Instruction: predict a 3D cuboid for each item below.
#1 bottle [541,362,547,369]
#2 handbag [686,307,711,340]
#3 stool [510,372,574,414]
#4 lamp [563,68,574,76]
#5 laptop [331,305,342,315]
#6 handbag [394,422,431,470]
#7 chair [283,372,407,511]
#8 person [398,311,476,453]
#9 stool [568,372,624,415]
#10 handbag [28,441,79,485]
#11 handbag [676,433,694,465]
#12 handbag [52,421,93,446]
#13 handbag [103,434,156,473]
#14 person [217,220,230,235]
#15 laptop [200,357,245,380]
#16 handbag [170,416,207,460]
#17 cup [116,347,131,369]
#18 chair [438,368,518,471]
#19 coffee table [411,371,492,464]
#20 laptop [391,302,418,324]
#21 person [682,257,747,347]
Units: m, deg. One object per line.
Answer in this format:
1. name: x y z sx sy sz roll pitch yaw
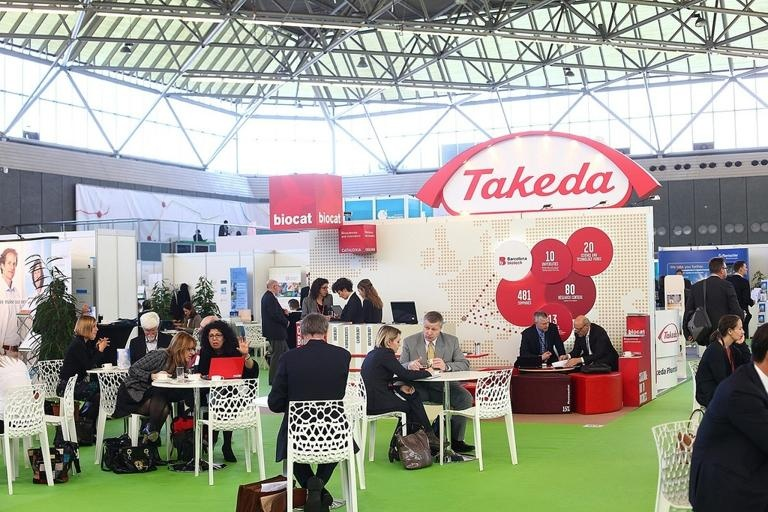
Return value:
1. bottle: 2.487 1.683 11.063 0.089 0.053 0.090 -3 1 0
2. handbag: 4.685 1.002 10.651 0.152 0.460 0.322 6 -35 -16
3. stool: 2.400 2.075 10.829 0.958 0.710 0.555 0 -1 4
4. lamp: 6.673 -6.593 25.836 0.317 0.319 0.261 -5 -5 40
5. laptop: -0.878 1.003 13.428 0.067 0.153 0.211 -9 -10 24
6. handbag: 0.352 2.306 8.658 0.388 0.410 0.227 -6 -31 -25
7. chair: -0.504 2.013 7.745 0.635 1.331 1.704 -3 -5 11
8. person: 0.683 1.626 9.433 0.944 1.835 1.115 -2 -11 14
9. stool: 3.274 2.050 10.986 0.911 0.710 0.526 -1 1 -3
10. handbag: -3.901 2.437 8.484 0.512 0.490 0.391 10 -14 -44
11. handbag: 2.633 1.663 6.252 0.178 0.264 0.061 4 -27 17
12. handbag: -4.002 2.279 9.232 0.452 0.357 0.273 -2 12 1
13. handbag: -3.127 2.381 8.721 0.508 0.252 0.384 -5 -9 44
14. person: -4.578 -0.739 20.603 0.235 0.406 0.777 -2 -5 2
15. laptop: -1.948 1.378 8.848 0.369 0.249 0.182 -3 -4 5
16. handbag: -2.422 2.241 9.057 0.378 0.562 0.517 1 4 -4
17. cup: -3.571 1.409 9.822 0.203 0.350 0.222 1 -5 0
18. chair: 1.290 1.959 8.732 0.799 1.141 0.382 0 -4 -23
19. coffee table: 0.826 2.027 9.134 0.946 1.009 0.999 -1 -5 2
20. laptop: 0.353 0.924 11.891 0.397 0.417 0.330 0 2 8
21. person: 5.068 0.729 10.922 0.825 1.389 0.733 4 -1 24
